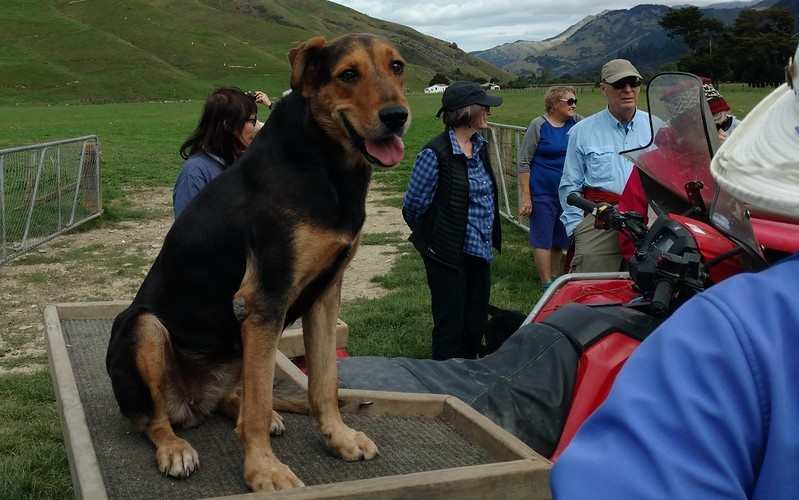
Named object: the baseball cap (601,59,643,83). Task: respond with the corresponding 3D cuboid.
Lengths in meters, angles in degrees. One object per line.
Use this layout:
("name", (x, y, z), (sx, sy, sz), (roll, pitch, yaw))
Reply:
("baseball cap", (2.905, -2.346, 6.259), (0.401, 0.227, 0.492), (-4, 10, -9))

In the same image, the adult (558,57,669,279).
("adult", (2.911, -0.589, 6.423), (1.394, 3.611, 1.129), (2, 17, 31))

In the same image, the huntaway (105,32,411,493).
("huntaway", (-0.769, -0.022, 2.479), (1.528, 2.216, 0.975), (4, 16, 3))
